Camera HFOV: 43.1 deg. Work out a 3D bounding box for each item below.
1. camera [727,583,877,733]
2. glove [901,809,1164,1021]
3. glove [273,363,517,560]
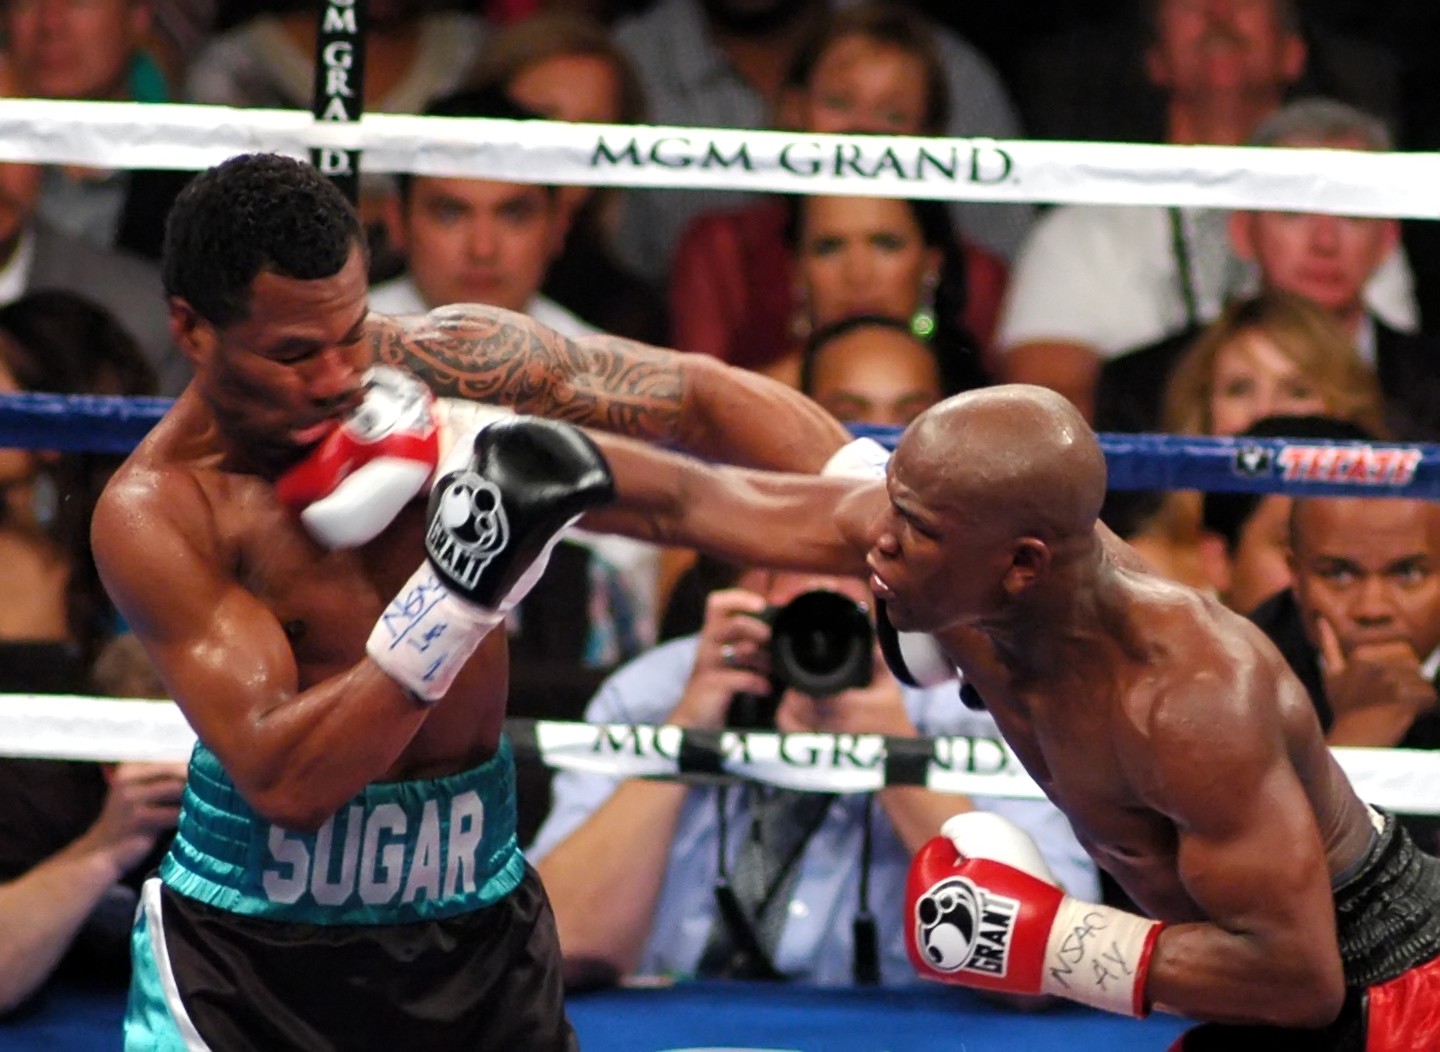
[{"bbox_3d":[0.207,0.281,3.963,0.319,0.318,0.115,0,2,6],"label":"camera"},{"bbox_3d":[0.549,0.700,3.214,0.419,0.156,0.281,5,57,18],"label":"glove"},{"bbox_3d":[-0.534,-0.081,3.195,0.393,0.169,0.286,-30,41,-14],"label":"glove"}]
